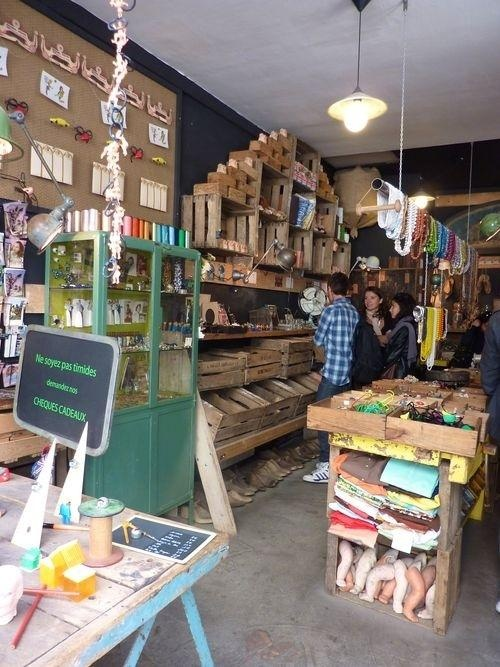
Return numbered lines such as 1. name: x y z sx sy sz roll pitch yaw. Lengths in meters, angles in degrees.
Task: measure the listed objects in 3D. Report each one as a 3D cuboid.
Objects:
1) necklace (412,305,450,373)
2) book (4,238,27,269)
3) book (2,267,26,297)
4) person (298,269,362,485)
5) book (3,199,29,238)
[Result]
1. necklace: 1.582 0.007 4.200 0.199 0.611 0.450 4 7 30
2. book: -1.198 -0.408 2.432 0.063 0.155 0.162 4 -3 12
3. book: -1.209 -0.263 2.439 0.018 0.147 0.161 4 4 25
4. person: 0.683 0.355 4.025 0.355 1.740 0.571 3 3 17
5. book: -1.181 -0.561 2.406 0.055 0.158 0.124 7 6 26
